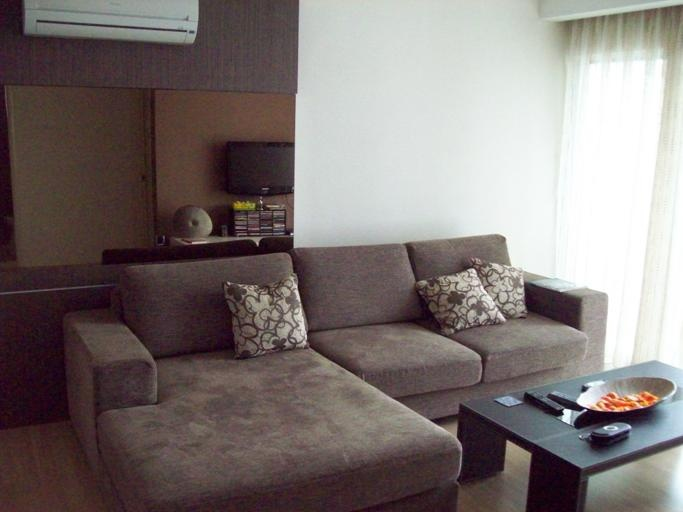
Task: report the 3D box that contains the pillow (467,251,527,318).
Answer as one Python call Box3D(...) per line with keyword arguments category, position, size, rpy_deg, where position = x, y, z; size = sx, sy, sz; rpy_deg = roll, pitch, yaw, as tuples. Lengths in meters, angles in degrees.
Box3D(category="pillow", position=(1.149, 0.252, 4.116), size=(0.468, 0.400, 0.136), rpy_deg=(2, -19, -22))

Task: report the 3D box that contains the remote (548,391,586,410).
Box3D(category="remote", position=(1.147, 0.748, 2.871), size=(0.068, 0.023, 0.107), rpy_deg=(-7, 13, -35))

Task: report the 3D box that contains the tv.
Box3D(category="tv", position=(-0.593, -0.613, 3.806), size=(0.419, 0.273, 0.041), rpy_deg=(-3, 10, -26))
